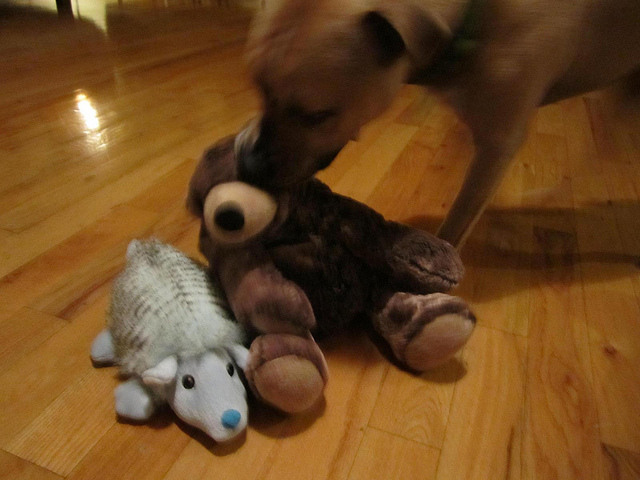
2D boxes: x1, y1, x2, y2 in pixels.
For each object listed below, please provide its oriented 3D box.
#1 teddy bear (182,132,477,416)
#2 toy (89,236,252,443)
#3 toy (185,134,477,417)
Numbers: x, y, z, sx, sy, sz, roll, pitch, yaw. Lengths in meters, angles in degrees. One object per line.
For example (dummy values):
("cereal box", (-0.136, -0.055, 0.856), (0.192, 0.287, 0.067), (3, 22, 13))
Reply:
("teddy bear", (-0.002, 0.048, 0.837), (0.489, 0.357, 0.431), (10, 33, 21))
("toy", (-0.255, 0.180, 0.853), (0.213, 0.112, 0.309), (-14, 64, -40))
("toy", (0.012, 0.041, 0.862), (0.477, 0.353, 0.459), (1, 32, 8))
